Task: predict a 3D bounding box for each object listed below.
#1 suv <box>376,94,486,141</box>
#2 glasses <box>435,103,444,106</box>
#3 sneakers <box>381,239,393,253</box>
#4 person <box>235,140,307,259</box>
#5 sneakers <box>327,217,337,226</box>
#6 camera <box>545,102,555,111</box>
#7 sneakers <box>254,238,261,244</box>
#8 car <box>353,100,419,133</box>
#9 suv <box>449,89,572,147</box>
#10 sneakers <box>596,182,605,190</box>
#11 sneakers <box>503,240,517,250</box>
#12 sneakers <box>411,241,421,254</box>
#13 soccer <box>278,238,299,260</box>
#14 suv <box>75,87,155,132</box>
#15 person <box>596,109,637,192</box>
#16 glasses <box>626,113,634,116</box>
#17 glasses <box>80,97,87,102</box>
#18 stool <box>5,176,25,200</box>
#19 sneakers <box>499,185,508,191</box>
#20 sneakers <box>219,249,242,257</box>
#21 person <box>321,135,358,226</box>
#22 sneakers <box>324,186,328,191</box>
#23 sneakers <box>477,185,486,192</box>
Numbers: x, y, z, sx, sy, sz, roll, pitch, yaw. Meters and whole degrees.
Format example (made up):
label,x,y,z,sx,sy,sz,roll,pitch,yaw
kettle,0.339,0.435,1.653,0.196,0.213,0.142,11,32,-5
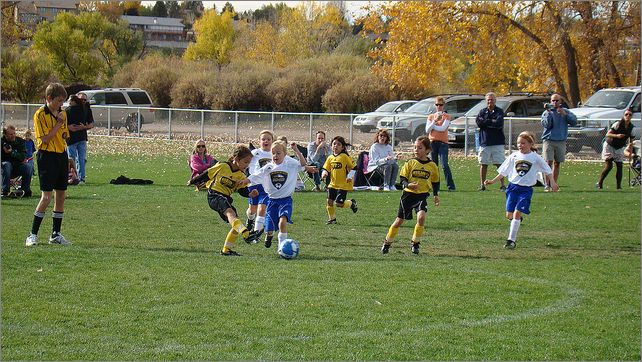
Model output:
label,x,y,z,sx,sy,sz,roll,pitch,yaw
suv,5.250,-2.997,36.150,5.329,1.563,2.050,-4,5,-30
glasses,3.873,-2.505,26.137,0.238,0.075,0.218,3,2,-2
sneakers,1.767,1.799,21.819,0.257,0.246,0.304,4,2,4
person,-1.252,0.384,21.535,1.231,2.856,0.395,4,2,-4
sneakers,0.317,1.186,23.583,0.361,0.219,0.262,3,2,-16
camera,7.448,-2.501,26.159,0.320,0.092,0.261,1,-21,2
sneakers,-1.766,1.666,22.164,0.236,0.086,0.148,-21,-17,35
car,2.866,-3.144,37.835,3.376,0.932,1.570,-5,6,-38
suv,8.036,-2.683,33.960,4.847,1.652,2.387,0,2,-27
sneakers,9.443,0.151,27.164,0.262,0.201,0.183,-6,-3,14
sneakers,5.166,1.766,22.031,0.339,0.189,0.164,8,-12,-35
sneakers,2.557,1.823,21.741,0.196,0.261,0.188,4,2,6
soccer,-0.876,1.845,21.386,0.527,0.531,0.248,3,2,-4
suv,-10.208,-3.791,40.801,5.002,1.756,2.317,1,2,-20
person,9.940,-1.070,27.015,0.995,2.261,0.997,5,2,18
glasses,10.208,-2.219,26.622,0.233,0.092,0.312,3,2,17
glasses,-7.867,-2.760,26.478,0.180,0.186,0.104,4,-3,-18
stool,-9.807,0.228,25.226,0.924,0.697,0.403,1,2,-9
sneakers,6.063,0.240,26.742,0.164,0.131,0.122,5,11,21
sneakers,-2.427,1.955,21.489,0.592,0.198,0.176,-1,3,-7
person,0.571,-0.018,23.769,1.093,2.637,1.512,4,2,2
sneakers,0.157,0.266,27.259,0.135,0.140,0.138,-2,8,13
sneakers,5.398,0.232,26.853,0.185,0.145,0.380,1,5,-16
